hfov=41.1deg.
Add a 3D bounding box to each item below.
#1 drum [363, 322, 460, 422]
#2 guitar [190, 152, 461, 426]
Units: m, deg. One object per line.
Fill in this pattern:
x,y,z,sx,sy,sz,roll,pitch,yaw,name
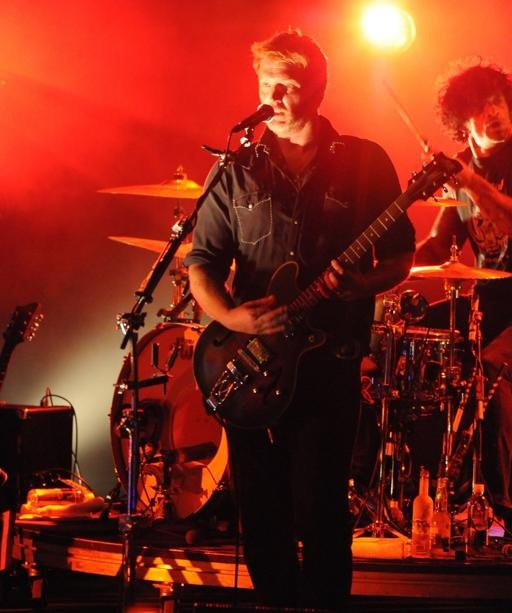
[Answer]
0.676,0.300,3.136,0.499,0.326,0.424,3,-2,-27,drum
0.147,-0.021,1.926,0.817,0.718,0.202,-10,-19,35,guitar
